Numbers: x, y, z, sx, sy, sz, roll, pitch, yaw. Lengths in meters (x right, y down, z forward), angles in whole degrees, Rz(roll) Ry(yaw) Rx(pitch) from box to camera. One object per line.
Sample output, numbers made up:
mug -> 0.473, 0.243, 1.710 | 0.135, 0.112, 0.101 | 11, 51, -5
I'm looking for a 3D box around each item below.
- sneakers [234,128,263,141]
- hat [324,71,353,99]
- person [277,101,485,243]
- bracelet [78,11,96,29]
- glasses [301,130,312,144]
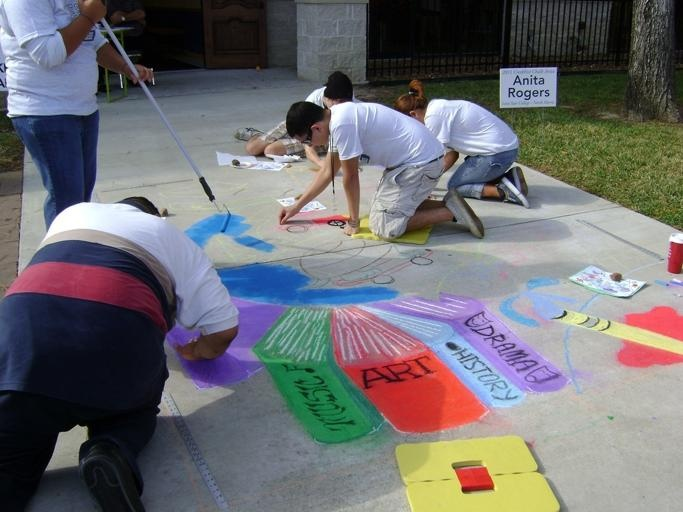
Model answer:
sneakers -> -1.242, -1.597, 6.431 | 0.528, 0.160, 0.226 | -10, 18, -36
hat -> -0.019, -1.575, 4.543 | 0.280, 0.250, 0.309 | 2, 31, 1
person -> 0.303, -0.722, 4.153 | 1.860, 0.953, 0.703 | 7, 19, 14
bracelet -> -1.502, -1.411, 2.934 | 0.065, 0.081, 0.099 | 8, 24, 19
glasses -> -0.255, -0.883, 3.638 | 0.025, 0.073, 0.078 | 31, -19, -25
